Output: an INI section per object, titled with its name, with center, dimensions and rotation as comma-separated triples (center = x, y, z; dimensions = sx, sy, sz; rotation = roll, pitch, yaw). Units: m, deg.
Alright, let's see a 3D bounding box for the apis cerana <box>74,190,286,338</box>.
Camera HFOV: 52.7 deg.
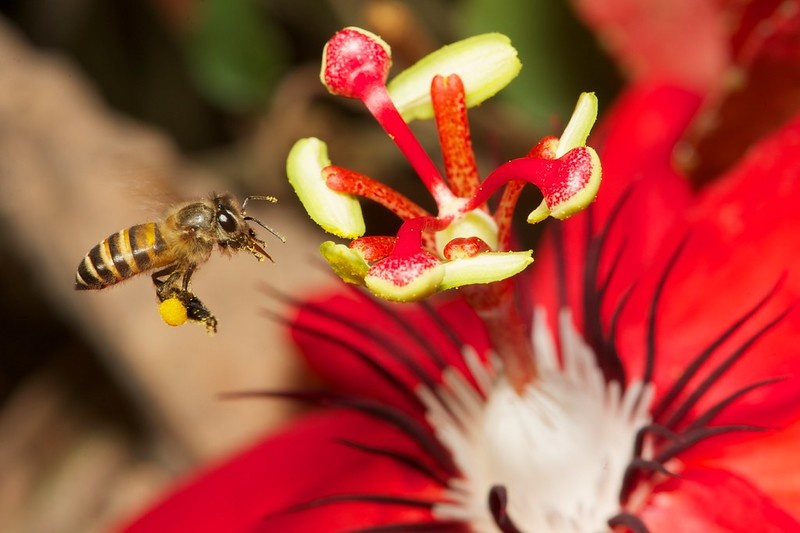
[apis cerana]
center = -0.334, -0.017, 1.231
dimensions = 0.245, 0.143, 0.191
rotation = -14, 34, -10
